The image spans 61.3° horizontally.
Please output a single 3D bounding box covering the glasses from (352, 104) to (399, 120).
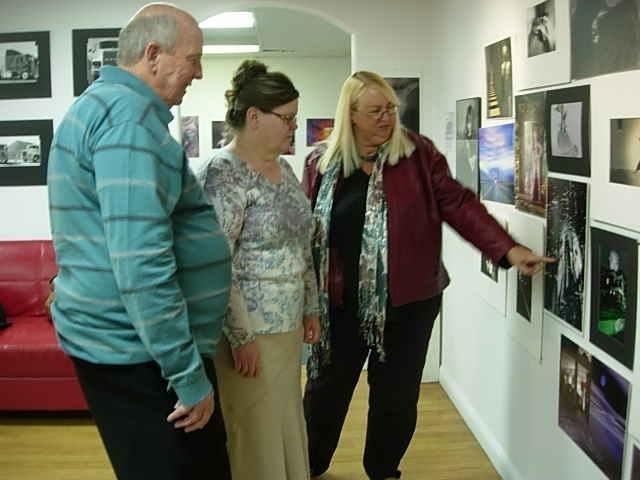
[{"bbox_3d":[0.275,-0.641,2.706,0.225,0.065,0.099,-2,10,2],"label":"glasses"}]

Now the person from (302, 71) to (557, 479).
[{"bbox_3d":[0.384,0.269,2.809,1.027,2.254,0.334,1,9,17],"label":"person"}]
